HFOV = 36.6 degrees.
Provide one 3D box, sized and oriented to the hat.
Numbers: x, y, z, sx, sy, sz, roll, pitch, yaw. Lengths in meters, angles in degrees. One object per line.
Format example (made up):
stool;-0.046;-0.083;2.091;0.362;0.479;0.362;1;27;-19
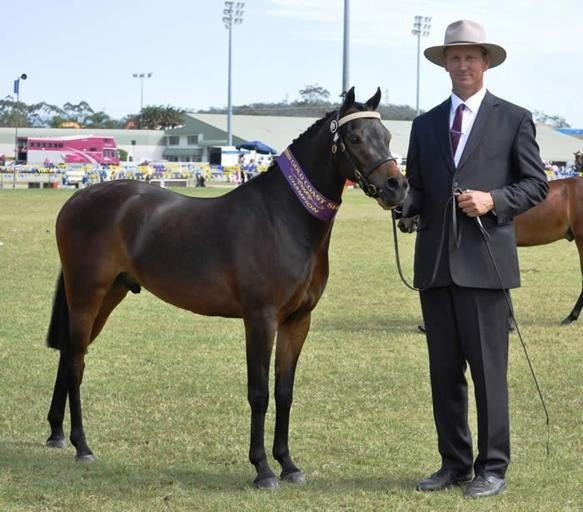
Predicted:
hat;1.157;-1.412;5.912;0.537;0.297;0.377;2;10;11

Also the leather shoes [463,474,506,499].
leather shoes;1.286;1.512;5.827;0.240;0.099;0.124;3;-7;-38

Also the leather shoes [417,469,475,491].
leather shoes;1.032;1.499;5.977;0.387;0.182;0.147;-2;-3;-16

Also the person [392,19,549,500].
person;1.197;0.005;5.899;0.948;3.082;0.666;3;9;17

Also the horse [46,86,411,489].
horse;-0.586;0.219;6.405;2.886;2.806;0.723;0;2;18
